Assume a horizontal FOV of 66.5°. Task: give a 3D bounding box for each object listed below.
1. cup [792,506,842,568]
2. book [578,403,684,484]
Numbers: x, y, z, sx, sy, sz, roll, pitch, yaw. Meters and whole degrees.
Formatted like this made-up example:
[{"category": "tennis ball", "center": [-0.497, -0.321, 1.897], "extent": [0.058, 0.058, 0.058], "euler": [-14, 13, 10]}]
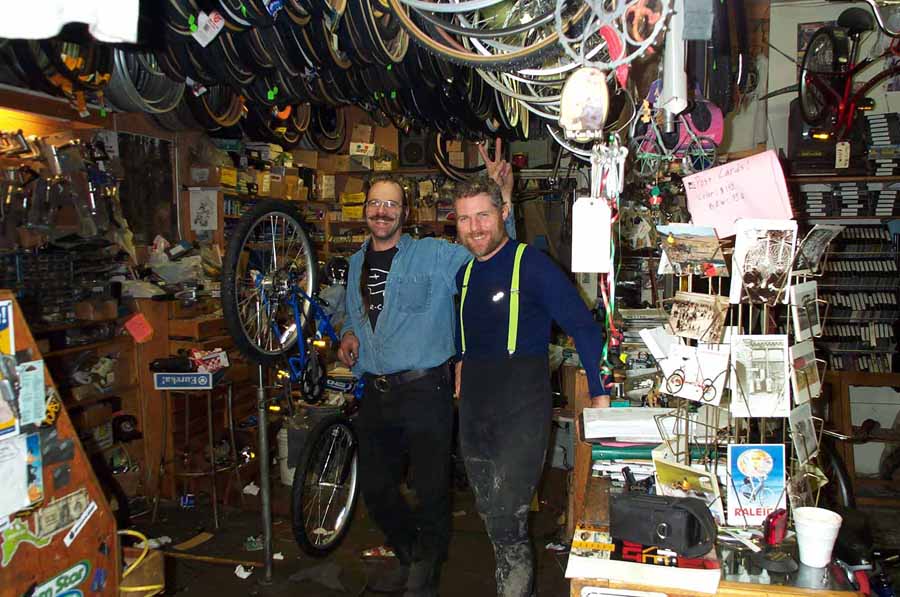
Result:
[{"category": "cup", "center": [1.443, 0.940, 2.762], "extent": [0.194, 0.220, 0.200], "euler": [2, -1, 0]}, {"category": "book", "center": [0.863, 0.682, 3.285], "extent": [0.392, 0.321, 0.150], "euler": [1, -32, 1]}]
